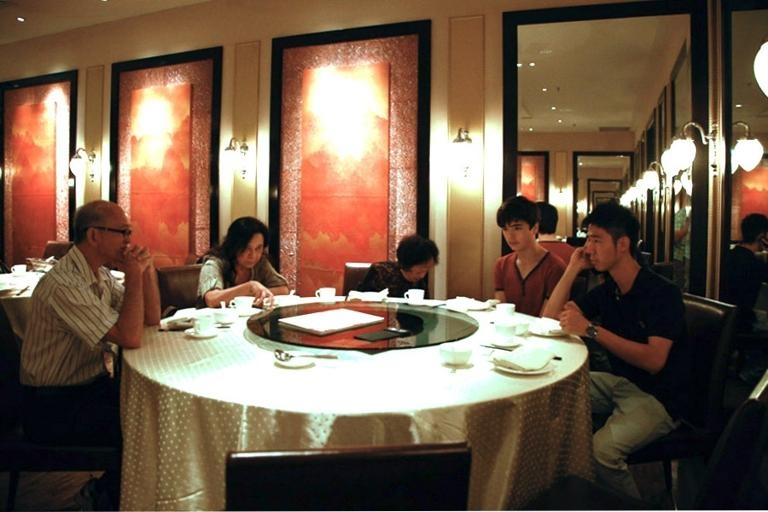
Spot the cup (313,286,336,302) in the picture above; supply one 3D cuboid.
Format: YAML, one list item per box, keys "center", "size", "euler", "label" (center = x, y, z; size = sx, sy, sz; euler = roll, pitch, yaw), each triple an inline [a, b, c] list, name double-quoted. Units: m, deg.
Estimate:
- center: [-0.405, 0.259, 4.168]
  size: [0.153, 0.108, 0.115]
  euler: [0, 0, -1]
  label: "cup"

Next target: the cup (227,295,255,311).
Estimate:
- center: [-0.937, 0.290, 3.908]
  size: [0.119, 0.080, 0.097]
  euler: [-4, 4, -7]
  label: "cup"

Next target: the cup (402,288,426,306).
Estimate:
- center: [0.222, 0.275, 4.153]
  size: [0.123, 0.091, 0.094]
  euler: [0, 0, 3]
  label: "cup"

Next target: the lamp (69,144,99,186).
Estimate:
- center: [-3.713, -1.113, 7.328]
  size: [0.439, 0.427, 0.213]
  euler: [4, 9, 28]
  label: "lamp"

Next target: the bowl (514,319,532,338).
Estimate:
- center: [0.826, 0.422, 3.598]
  size: [0.117, 0.081, 0.112]
  euler: [1, 0, 0]
  label: "bowl"

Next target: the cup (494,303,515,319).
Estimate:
- center: [0.757, 0.337, 3.785]
  size: [0.103, 0.076, 0.104]
  euler: [-1, 2, 0]
  label: "cup"

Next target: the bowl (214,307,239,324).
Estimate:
- center: [-0.950, 0.355, 3.630]
  size: [0.099, 0.057, 0.094]
  euler: [1, 2, 0]
  label: "bowl"

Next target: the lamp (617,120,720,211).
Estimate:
- center: [2.614, -0.804, 5.405]
  size: [0.572, 0.729, 0.673]
  euler: [-3, 9, -16]
  label: "lamp"

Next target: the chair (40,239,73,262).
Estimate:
- center: [-3.399, -0.066, 6.249]
  size: [0.155, 0.220, 0.175]
  euler: [12, -14, 1]
  label: "chair"

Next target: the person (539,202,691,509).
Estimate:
- center: [1.413, 0.665, 3.783]
  size: [0.953, 1.904, 0.841]
  euler: [3, 2, 10]
  label: "person"

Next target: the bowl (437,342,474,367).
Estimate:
- center: [0.390, 0.503, 3.178]
  size: [0.136, 0.070, 0.134]
  euler: [0, 2, 0]
  label: "bowl"

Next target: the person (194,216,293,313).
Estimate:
- center: [-1.007, 0.041, 4.313]
  size: [0.609, 0.907, 0.666]
  euler: [0, 0, -44]
  label: "person"

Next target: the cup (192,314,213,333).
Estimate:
- center: [-1.036, 0.376, 3.476]
  size: [0.118, 0.082, 0.081]
  euler: [-12, 26, -43]
  label: "cup"

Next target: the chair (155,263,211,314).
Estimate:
- center: [-1.608, 0.243, 4.731]
  size: [0.369, 0.500, 0.396]
  euler: [1, -4, -33]
  label: "chair"

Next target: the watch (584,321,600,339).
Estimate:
- center: [1.217, 0.426, 3.508]
  size: [0.062, 0.091, 0.089]
  euler: [18, -6, 32]
  label: "watch"

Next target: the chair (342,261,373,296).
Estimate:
- center: [-0.245, 0.190, 5.131]
  size: [0.280, 0.388, 0.283]
  euler: [3, -6, -8]
  label: "chair"

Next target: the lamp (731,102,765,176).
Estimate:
- center: [3.013, -0.915, 5.006]
  size: [0.125, 0.436, 0.264]
  euler: [-3, 9, -18]
  label: "lamp"

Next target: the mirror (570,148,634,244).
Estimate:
- center: [2.120, -0.572, 5.836]
  size: [0.616, 1.116, 0.044]
  euler: [6, 43, 24]
  label: "mirror"

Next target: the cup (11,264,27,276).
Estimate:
- center: [-3.486, 0.131, 5.739]
  size: [0.157, 0.119, 0.120]
  euler: [-5, 15, -29]
  label: "cup"

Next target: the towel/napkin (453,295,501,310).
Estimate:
- center: [0.689, 0.334, 4.401]
  size: [0.164, 0.050, 0.165]
  euler: [14, 10, 36]
  label: "towel/napkin"

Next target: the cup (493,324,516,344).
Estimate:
- center: [0.685, 0.431, 3.391]
  size: [0.112, 0.085, 0.102]
  euler: [-2, 0, 0]
  label: "cup"

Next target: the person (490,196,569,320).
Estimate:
- center: [1.065, 0.029, 4.521]
  size: [0.568, 0.963, 0.614]
  euler: [-8, 9, -39]
  label: "person"
